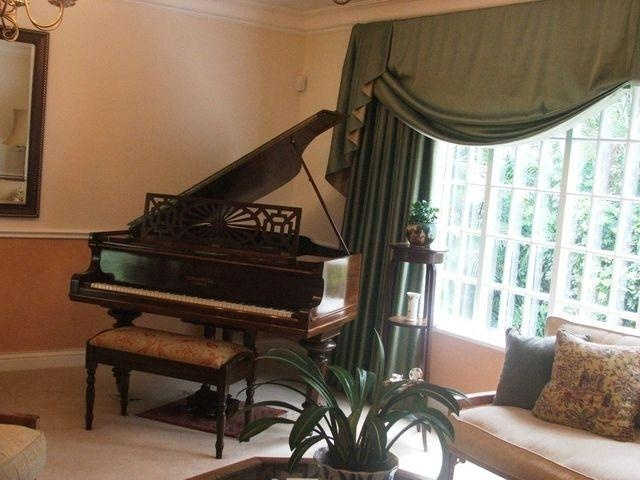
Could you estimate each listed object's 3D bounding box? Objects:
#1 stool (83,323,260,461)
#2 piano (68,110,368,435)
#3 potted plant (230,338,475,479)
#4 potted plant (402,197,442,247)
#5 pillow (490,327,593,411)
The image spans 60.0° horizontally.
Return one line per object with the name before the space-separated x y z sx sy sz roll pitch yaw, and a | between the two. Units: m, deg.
stool | -1.046 1.017 3.883 1.100 0.671 0.488 5 2 20
piano | -0.773 0.176 4.294 1.912 2.066 2.354 -8 15 -42
potted plant | 0.221 0.958 3.136 1.159 0.711 1.144 0 1 2
potted plant | 0.753 -0.123 4.125 0.314 0.402 0.316 6 -1 -36
pillow | 1.351 0.786 3.351 0.442 0.461 0.179 19 -9 5
